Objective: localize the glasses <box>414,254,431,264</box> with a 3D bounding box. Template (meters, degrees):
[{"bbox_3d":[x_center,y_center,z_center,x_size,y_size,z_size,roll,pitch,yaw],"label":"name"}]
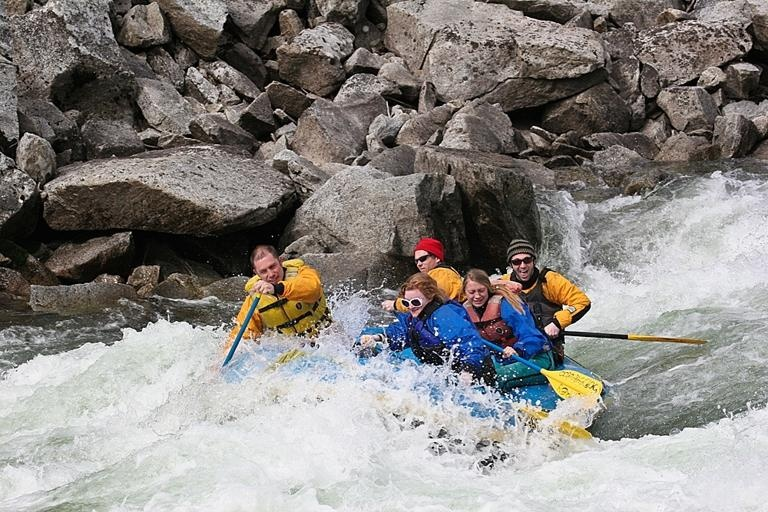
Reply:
[{"bbox_3d":[0.511,0.026,12.797,0.223,0.105,0.094,-3,31,24],"label":"glasses"}]

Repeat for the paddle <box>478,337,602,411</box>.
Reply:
[{"bbox_3d":[2.204,1.503,11.572,0.915,0.599,0.440,-13,29,9],"label":"paddle"}]

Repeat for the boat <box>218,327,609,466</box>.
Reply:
[{"bbox_3d":[0.872,1.648,11.885,3.347,0.572,1.999,17,2,19],"label":"boat"}]

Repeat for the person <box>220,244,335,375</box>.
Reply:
[{"bbox_3d":[-1.412,0.757,12.531,1.051,1.658,0.981,-26,7,8],"label":"person"}]

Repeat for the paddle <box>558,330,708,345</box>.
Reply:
[{"bbox_3d":[3.538,1.124,12.995,2.197,0.216,0.119,4,12,3],"label":"paddle"}]

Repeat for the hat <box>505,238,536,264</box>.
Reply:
[{"bbox_3d":[1.873,-0.091,12.840,0.368,0.373,0.330,-5,62,-3],"label":"hat"}]

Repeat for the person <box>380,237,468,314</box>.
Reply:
[{"bbox_3d":[0.569,0.229,12.791,1.196,1.508,0.837,-4,-1,-18],"label":"person"}]
